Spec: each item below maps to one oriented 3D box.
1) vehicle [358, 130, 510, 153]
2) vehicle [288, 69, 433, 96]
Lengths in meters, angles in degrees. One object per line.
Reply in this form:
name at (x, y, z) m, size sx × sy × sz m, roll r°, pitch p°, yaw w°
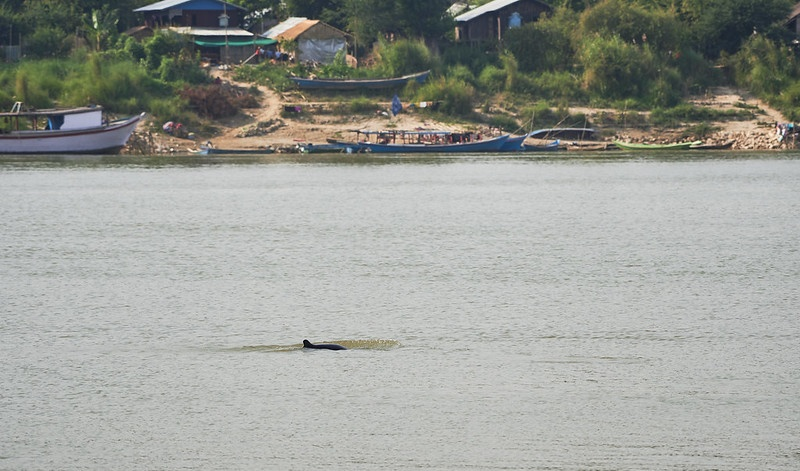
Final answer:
vehicle at (2.305, -7.830, 152.728) m, size 10.330 × 1.939 × 1.176 m, roll -1°, pitch 100°, yaw 1°
vehicle at (-3.820, -13.368, 158.923) m, size 11.280 × 2.553 × 0.937 m, roll -5°, pitch 67°, yaw -2°
